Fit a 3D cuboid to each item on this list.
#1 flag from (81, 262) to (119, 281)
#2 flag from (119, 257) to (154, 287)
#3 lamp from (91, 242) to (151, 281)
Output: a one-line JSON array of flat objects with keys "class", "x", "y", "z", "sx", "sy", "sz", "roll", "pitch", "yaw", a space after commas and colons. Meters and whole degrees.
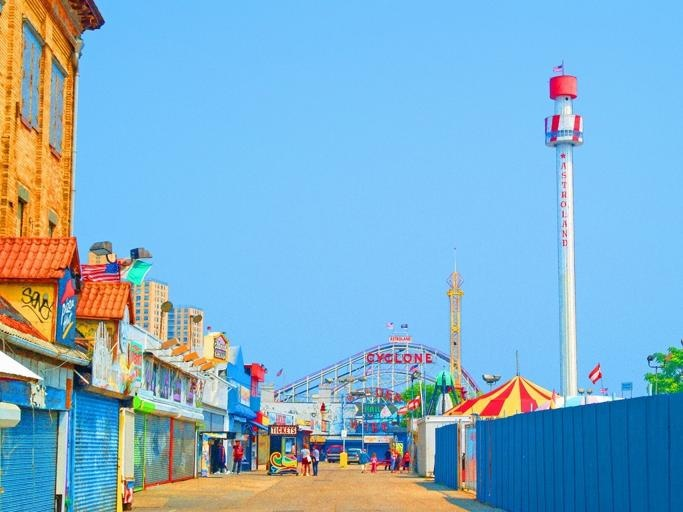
[{"class": "flag", "x": -8.491, "y": 0.566, "z": 49.403, "sx": 2.052, "sy": 0.289, "sz": 1.630, "roll": -2, "pitch": 7, "yaw": -7}, {"class": "flag", "x": -7.475, "y": 0.521, "z": 50.885, "sx": 1.130, "sy": 1.226, "sz": 0.646, "roll": 17, "pitch": -27, "yaw": -33}, {"class": "lamp", "x": -8.239, "y": 0.379, "z": 51.768, "sx": 1.814, "sy": 1.953, "sz": 0.992, "roll": 4, "pitch": 5, "yaw": -14}]
